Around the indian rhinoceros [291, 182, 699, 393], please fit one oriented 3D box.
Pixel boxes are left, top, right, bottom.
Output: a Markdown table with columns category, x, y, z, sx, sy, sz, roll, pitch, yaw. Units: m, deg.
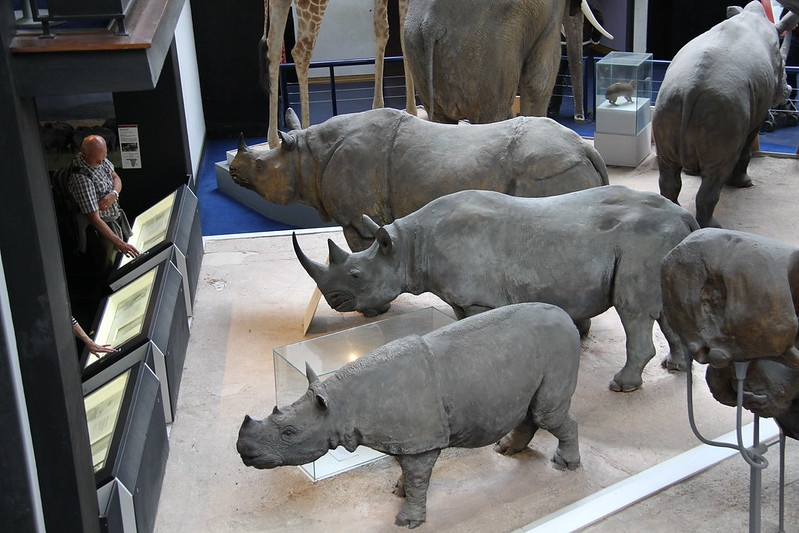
| category | x | y | z | sx | sy | sz | roll | pitch | yaw |
| --- | --- | --- | --- | --- | --- | --- | --- | --- | --- |
| indian rhinoceros | 0.558 | 0.001 | 5.921 | 3.435 | 1.761 | 1.277 | -1 | 14 | -1 |

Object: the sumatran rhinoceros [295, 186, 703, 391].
| category | x | y | z | sx | sy | sz | roll | pitch | yaw |
| --- | --- | --- | --- | --- | --- | --- | --- | --- | --- |
| sumatran rhinoceros | 0.838 | -0.036 | 5.939 | 3.445 | 1.779 | 1.275 | -1 | 14 | -1 |

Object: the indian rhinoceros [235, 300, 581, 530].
| category | x | y | z | sx | sy | sz | roll | pitch | yaw |
| --- | --- | --- | --- | --- | --- | --- | --- | --- | --- |
| indian rhinoceros | 0.140 | 1.112 | 4.775 | 1.931 | 1.079 | 0.657 | -15 | 32 | -9 |

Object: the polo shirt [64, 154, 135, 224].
| category | x | y | z | sx | sy | sz | roll | pitch | yaw |
| --- | --- | --- | --- | --- | --- | --- | --- | --- | --- |
| polo shirt | -3.086 | -0.780 | 6.852 | 0.464 | 0.712 | 0.398 | -17 | 22 | -32 |

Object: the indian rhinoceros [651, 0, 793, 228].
| category | x | y | z | sx | sy | sz | roll | pitch | yaw |
| --- | --- | --- | --- | --- | --- | --- | --- | --- | --- |
| indian rhinoceros | 4.010 | -1.941 | 8.416 | 1.013 | 2.479 | 2.450 | 10 | 24 | 38 |

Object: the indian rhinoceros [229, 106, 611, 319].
| category | x | y | z | sx | sy | sz | roll | pitch | yaw |
| --- | --- | --- | --- | --- | --- | --- | --- | --- | --- |
| indian rhinoceros | -0.014 | -0.848 | 7.075 | 4.570 | 2.369 | 1.551 | -1 | 22 | 7 |
